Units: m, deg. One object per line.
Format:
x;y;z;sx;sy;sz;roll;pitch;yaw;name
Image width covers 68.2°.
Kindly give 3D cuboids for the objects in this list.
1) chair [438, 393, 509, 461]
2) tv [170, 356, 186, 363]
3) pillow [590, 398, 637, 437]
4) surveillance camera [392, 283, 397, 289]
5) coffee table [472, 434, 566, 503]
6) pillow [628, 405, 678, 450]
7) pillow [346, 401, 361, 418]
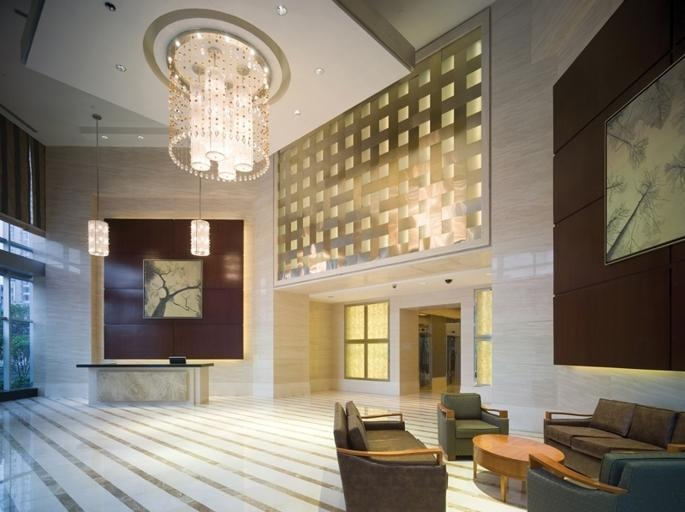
2.011;2.694;8.109;0.951;0.873;1.027;1;-9;-6;chair
-4.262;2.695;13.062;0.305;0.131;0.308;0;-5;-5;tv
3.960;2.337;7.383;0.135;0.425;0.504;25;-8;-16;pillow
1.326;0.784;12.956;0.098;0.087;0.121;-1;14;6;surveillance camera
2.191;2.780;6.780;0.680;0.461;0.919;-6;2;-9;coffee table
4.202;2.310;6.882;0.252;0.470;0.588;3;-10;-20;pillow
0.142;2.141;6.981;0.143;0.170;0.436;-3;-1;3;pillow
